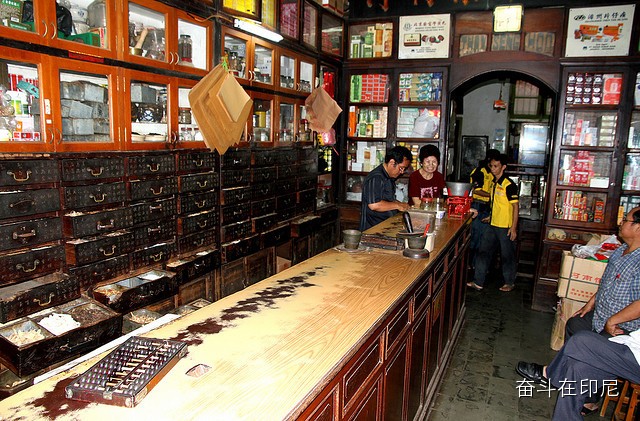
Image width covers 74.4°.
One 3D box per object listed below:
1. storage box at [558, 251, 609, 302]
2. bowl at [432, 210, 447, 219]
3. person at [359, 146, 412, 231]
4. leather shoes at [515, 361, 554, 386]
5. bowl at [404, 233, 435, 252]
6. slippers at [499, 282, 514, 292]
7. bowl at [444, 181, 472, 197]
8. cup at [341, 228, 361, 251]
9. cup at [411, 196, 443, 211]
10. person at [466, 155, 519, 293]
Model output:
[{"bbox_3d":[2.851,0.749,4.800,0.502,0.467,0.488,12,8,5],"label":"storage box"},{"bbox_3d":[1.371,0.047,4.773,0.132,0.053,0.152,7,19,19],"label":"bowl"},{"bbox_3d":[0.773,-0.259,4.997,0.566,1.006,0.497,2,11,10],"label":"person"},{"bbox_3d":[2.179,1.656,4.300,0.416,0.141,0.156,21,25,12],"label":"leather shoes"},{"bbox_3d":[0.902,0.312,3.707,0.157,0.186,0.193,6,9,-16],"label":"bowl"},{"bbox_3d":[2.786,1.139,6.259,0.265,0.099,0.095,-1,1,-44],"label":"slippers"},{"bbox_3d":[1.926,-0.295,5.839,0.347,0.155,0.334,1,2,0],"label":"bowl"},{"bbox_3d":[0.296,0.244,3.683,0.201,0.163,0.160,-3,11,-16],"label":"cup"},{"bbox_3d":[1.321,-0.084,5.177,0.292,0.266,0.193,4,23,27],"label":"cup"},{"bbox_3d":[2.559,0.304,6.134,0.617,1.802,0.421,5,12,24],"label":"person"}]
